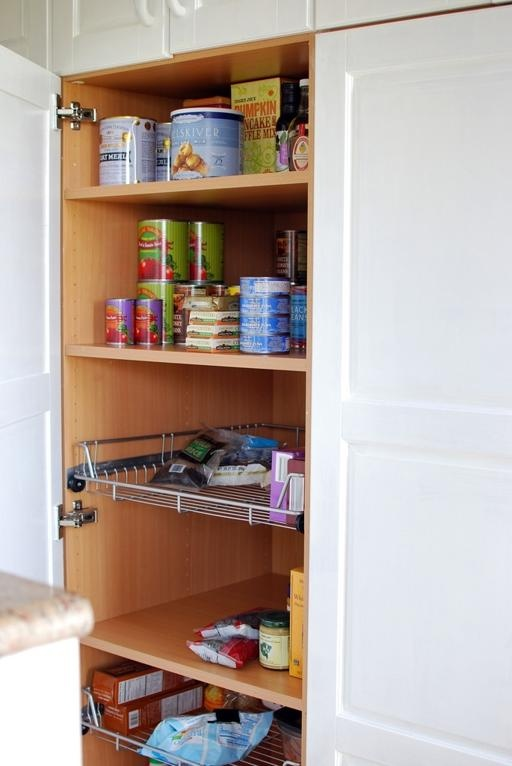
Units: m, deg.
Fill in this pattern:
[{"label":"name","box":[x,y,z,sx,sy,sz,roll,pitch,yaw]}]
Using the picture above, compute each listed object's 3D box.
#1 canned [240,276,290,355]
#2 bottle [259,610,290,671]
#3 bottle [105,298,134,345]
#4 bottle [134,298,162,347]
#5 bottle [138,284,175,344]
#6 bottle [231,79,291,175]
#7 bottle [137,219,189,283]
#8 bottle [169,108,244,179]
[{"label":"canned","box":[0.026,-0.144,1.360,0.127,0.209,0.134,0,2,6]},{"label":"bottle","box":[0.041,0.552,1.393,0.087,0.101,0.087,-6,-9,43]},{"label":"bottle","box":[-0.329,-0.145,1.569,0.068,0.110,0.067,2,2,0]},{"label":"bottle","box":[-0.261,-0.151,1.561,0.085,0.115,0.085,0,6,0]},{"label":"bottle","box":[-0.250,-0.169,1.601,0.089,0.159,0.094,1,5,0]},{"label":"bottle","box":[0.016,-0.567,1.441,0.113,0.205,0.071,2,23,17]},{"label":"bottle","box":[-0.226,-0.330,1.638,0.141,0.166,0.145,2,6,10]},{"label":"bottle","box":[-0.110,-0.503,1.361,0.160,0.132,0.156,-5,18,-16]}]
